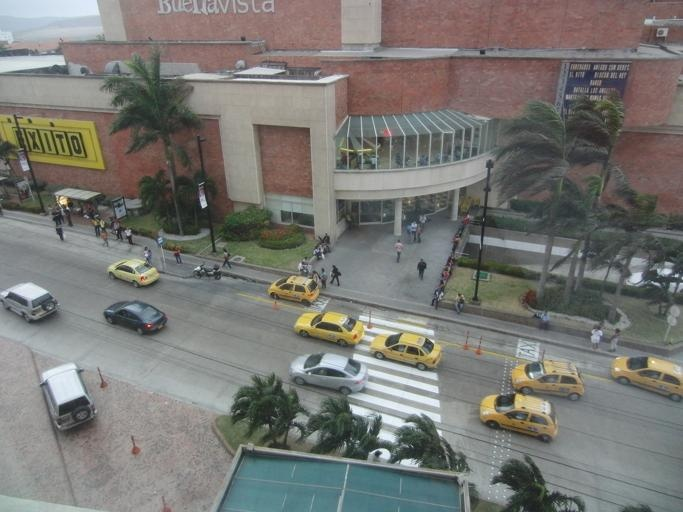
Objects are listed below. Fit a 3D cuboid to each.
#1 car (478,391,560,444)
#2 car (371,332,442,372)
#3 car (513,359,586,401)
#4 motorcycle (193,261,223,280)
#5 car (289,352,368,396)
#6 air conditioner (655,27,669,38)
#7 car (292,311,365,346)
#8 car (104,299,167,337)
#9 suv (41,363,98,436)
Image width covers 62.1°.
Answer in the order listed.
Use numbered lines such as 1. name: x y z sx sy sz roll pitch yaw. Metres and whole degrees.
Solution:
1. car: 10.543 9.247 33.727 4.519 1.783 2.485 10 28 6
2. car: 4.332 6.246 37.732 4.335 1.509 1.473 10 30 20
3. car: 12.779 7.471 35.424 3.825 1.541 2.253 7 25 10
4. motorcycle: -10.834 1.081 46.015 2.393 1.343 1.138 10 46 2
5. car: -0.940 7.228 36.256 5.150 1.753 2.168 11 30 13
6. air conditioner: 36.349 -25.264 64.034 1.387 1.027 0.572 0 29 2
7. car: -0.936 4.767 39.795 4.926 1.556 2.337 9 30 13
8. car: -15.004 4.117 40.674 4.663 1.586 2.179 15 31 18
9. suv: -16.863 8.156 34.685 2.636 2.177 4.563 -19 45 -29
